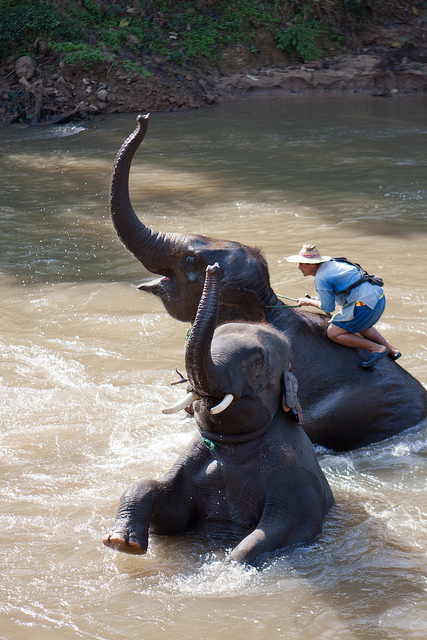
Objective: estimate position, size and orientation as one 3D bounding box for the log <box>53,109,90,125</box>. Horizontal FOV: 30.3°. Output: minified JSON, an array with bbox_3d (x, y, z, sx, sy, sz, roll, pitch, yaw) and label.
[{"bbox_3d":[-3.208,-4.563,17.735,0.815,0.351,0.514,-5,14,-18],"label":"log"}]

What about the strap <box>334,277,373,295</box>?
[{"bbox_3d":[0.863,-0.213,4.796,0.147,0.036,0.103,-23,-7,12],"label":"strap"}]

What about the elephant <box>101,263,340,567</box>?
[{"bbox_3d":[0.150,0.446,3.444,0.841,0.998,1.690,-2,-5,17],"label":"elephant"}]

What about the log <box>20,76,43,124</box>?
[{"bbox_3d":[-4.212,-5.109,18.362,0.510,1.124,1.351,-5,14,-11],"label":"log"}]

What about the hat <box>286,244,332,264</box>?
[{"bbox_3d":[0.619,-0.403,5.027,0.202,0.065,0.197,3,9,20],"label":"hat"}]
